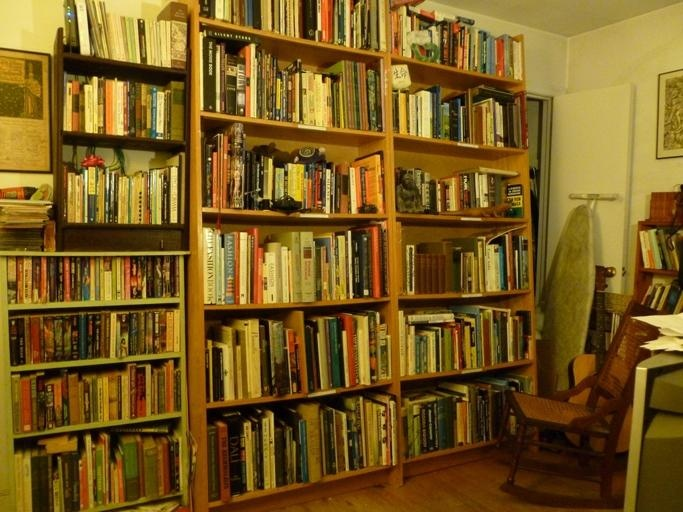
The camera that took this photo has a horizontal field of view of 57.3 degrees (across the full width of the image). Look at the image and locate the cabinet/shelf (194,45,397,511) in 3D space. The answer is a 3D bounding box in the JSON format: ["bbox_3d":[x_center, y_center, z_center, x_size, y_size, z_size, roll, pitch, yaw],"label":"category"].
[{"bbox_3d":[-0.275,0.030,3.732,1.150,2.494,0.805,-3,9,-16],"label":"cabinet/shelf"}]
